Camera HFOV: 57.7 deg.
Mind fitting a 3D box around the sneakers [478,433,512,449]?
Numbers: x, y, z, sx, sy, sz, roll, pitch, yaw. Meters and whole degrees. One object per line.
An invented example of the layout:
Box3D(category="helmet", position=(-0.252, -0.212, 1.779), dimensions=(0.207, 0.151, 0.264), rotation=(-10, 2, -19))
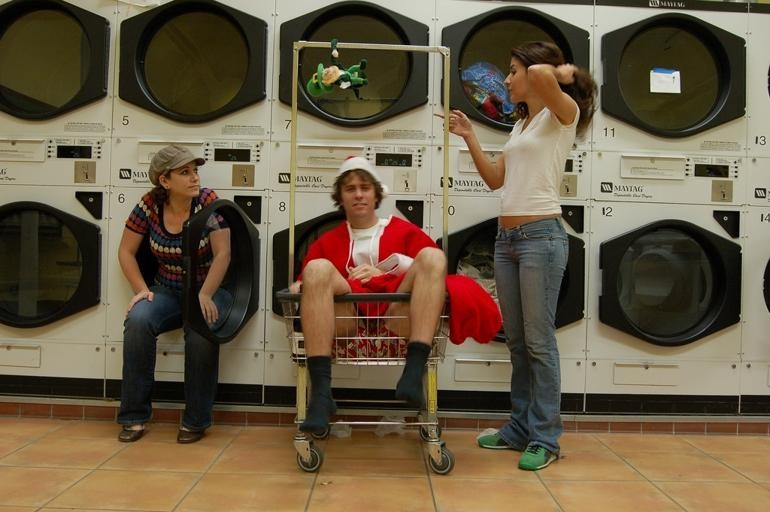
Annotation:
Box3D(category="sneakers", position=(0.643, 1.071, 4.050), dimensions=(0.153, 0.068, 0.085), rotation=(13, 0, 6))

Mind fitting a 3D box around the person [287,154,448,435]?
Box3D(category="person", position=(-0.101, 0.199, 3.807), dimensions=(0.822, 1.489, 0.687), rotation=(1, 3, -8))

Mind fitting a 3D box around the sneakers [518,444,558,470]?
Box3D(category="sneakers", position=(0.866, 1.123, 3.892), dimensions=(0.096, 0.106, 0.268), rotation=(-8, -12, 44))

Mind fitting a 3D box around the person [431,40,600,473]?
Box3D(category="person", position=(0.818, -0.043, 4.200), dimensions=(0.744, 2.375, 1.013), rotation=(6, -5, -31))

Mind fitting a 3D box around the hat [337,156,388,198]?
Box3D(category="hat", position=(-0.126, -0.454, 4.091), dimensions=(0.188, 0.242, 0.308), rotation=(-16, -3, -1))

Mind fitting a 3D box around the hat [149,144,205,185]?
Box3D(category="hat", position=(-1.247, -0.561, 4.172), dimensions=(0.297, 0.154, 0.224), rotation=(-26, -1, 29))

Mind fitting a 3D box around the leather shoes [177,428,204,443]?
Box3D(category="leather shoes", position=(-1.133, 1.047, 4.064), dimensions=(0.140, 0.057, 0.064), rotation=(0, 5, -19))

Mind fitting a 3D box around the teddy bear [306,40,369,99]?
Box3D(category="teddy bear", position=(-0.232, -1.033, 3.953), dimensions=(0.402, 0.320, 0.183), rotation=(-6, -41, 10))

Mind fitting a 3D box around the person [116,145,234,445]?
Box3D(category="person", position=(-1.276, 0.211, 4.159), dimensions=(0.672, 1.727, 0.524), rotation=(1, 3, -6))
